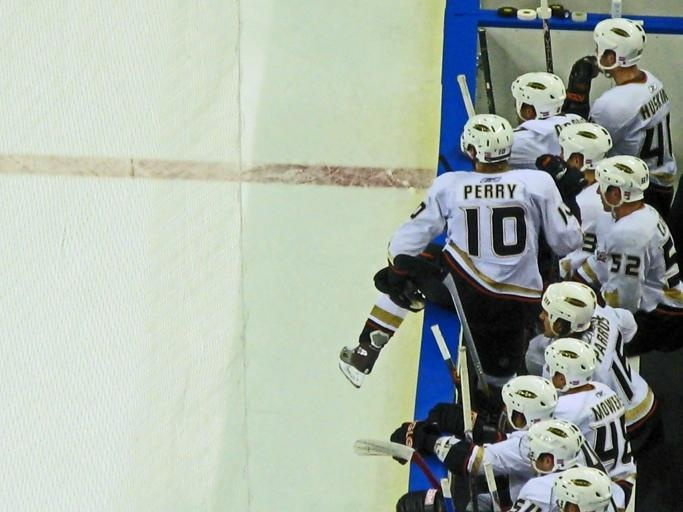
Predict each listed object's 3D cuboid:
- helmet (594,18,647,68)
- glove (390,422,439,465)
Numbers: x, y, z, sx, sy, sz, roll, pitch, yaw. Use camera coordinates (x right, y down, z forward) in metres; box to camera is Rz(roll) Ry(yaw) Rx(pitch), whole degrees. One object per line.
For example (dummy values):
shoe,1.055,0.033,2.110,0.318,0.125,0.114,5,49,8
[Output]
helmet,2.125,-1.639,11.440,0.384,0.348,0.354,22,39,37
glove,0.471,1.240,10.338,0.339,0.159,0.454,-16,2,6
